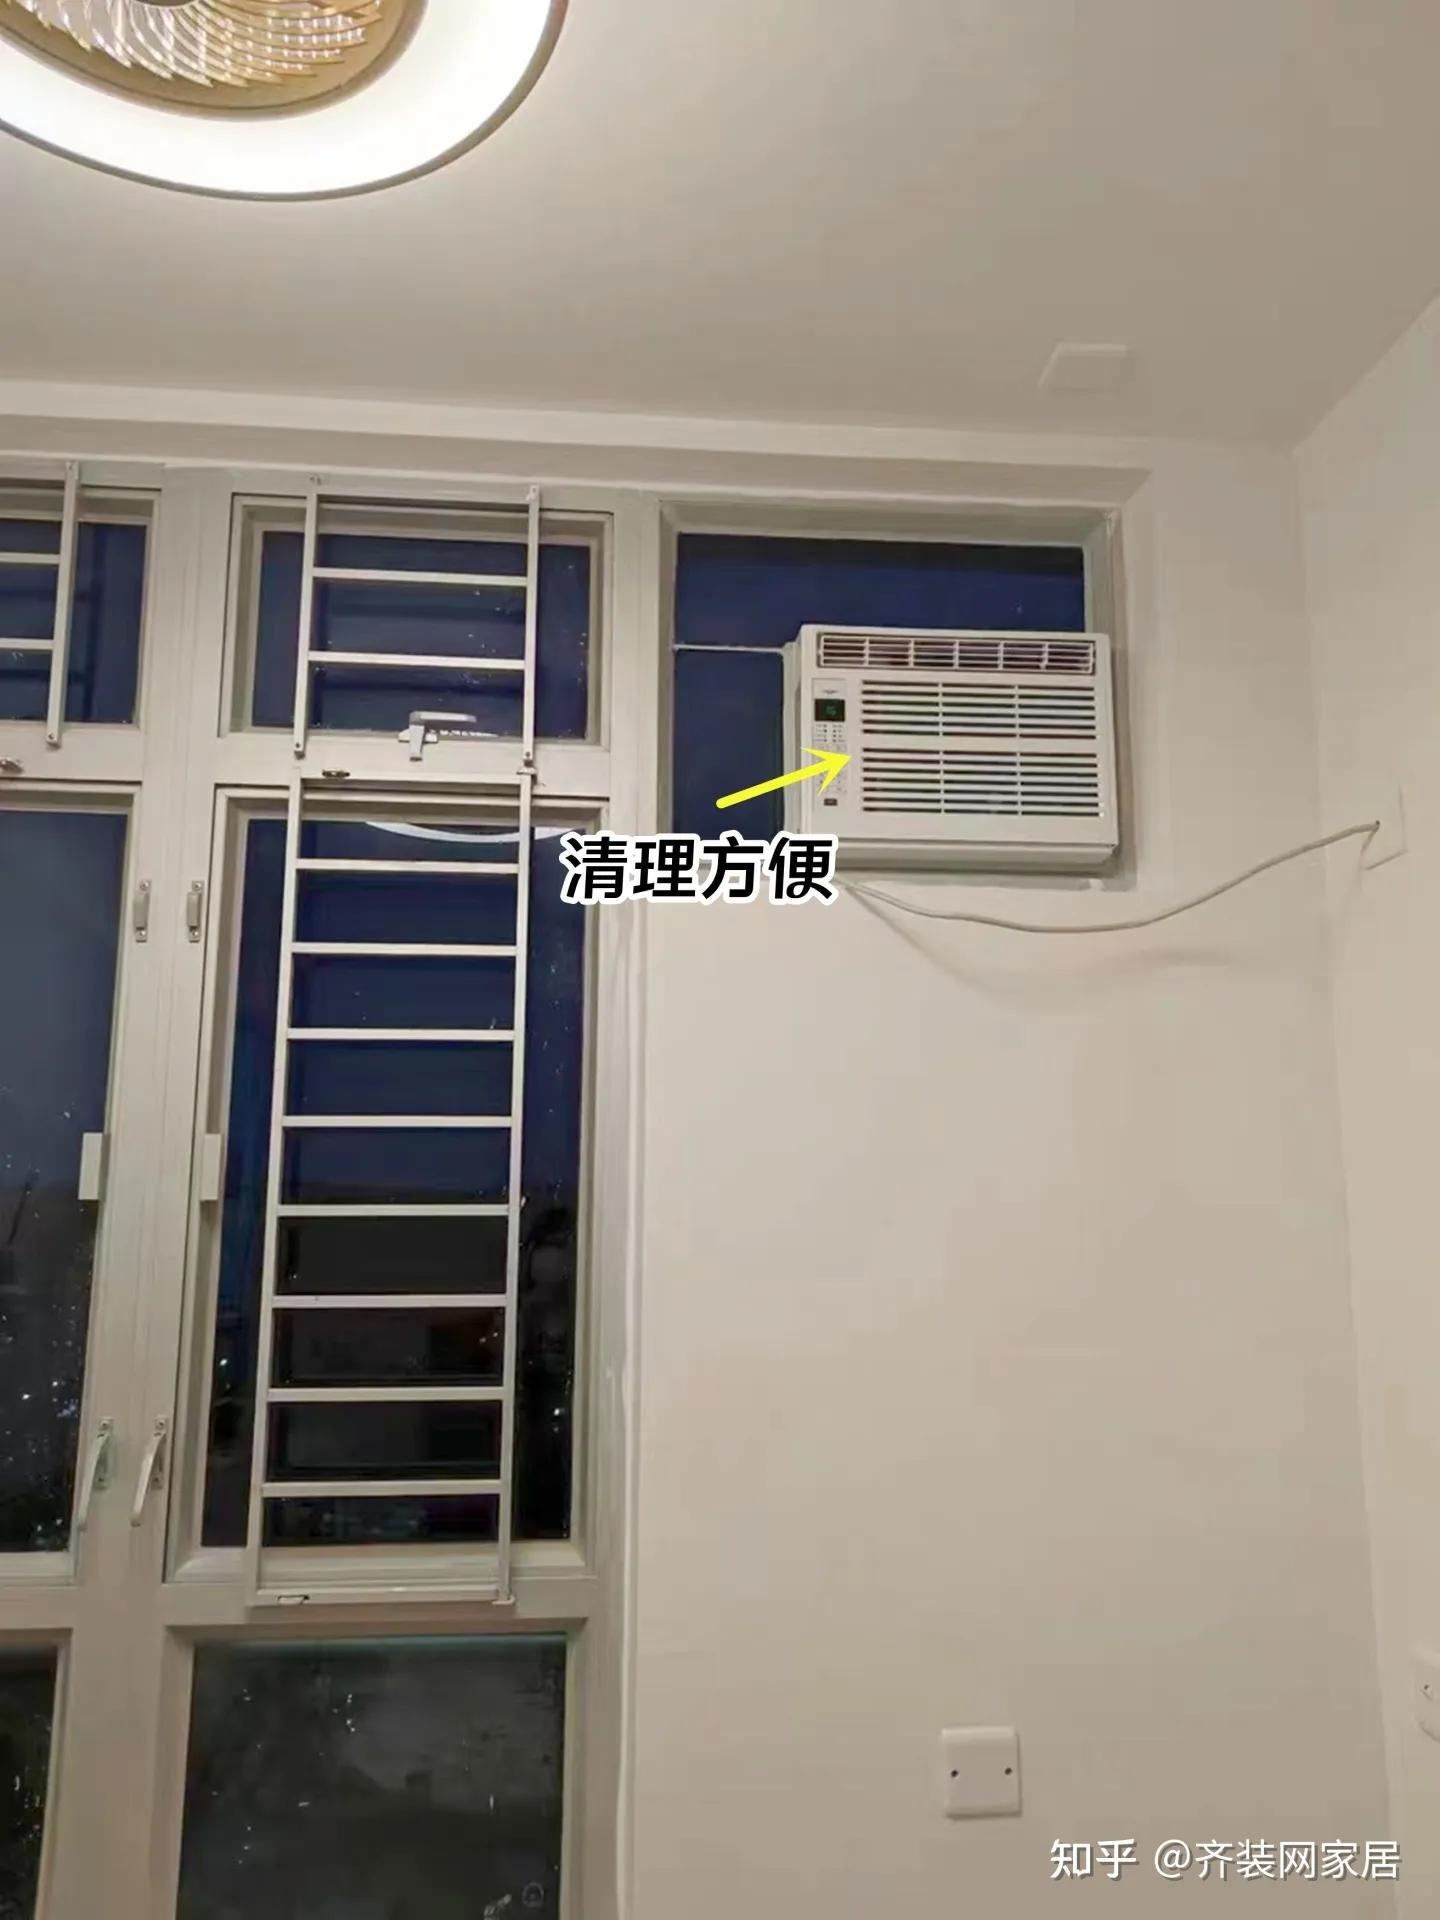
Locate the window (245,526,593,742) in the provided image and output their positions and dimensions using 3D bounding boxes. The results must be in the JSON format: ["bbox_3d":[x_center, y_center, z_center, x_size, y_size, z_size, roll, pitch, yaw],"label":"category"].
[{"bbox_3d":[-0.419,-0.426,2.287,0.500,0.284,0.111,2,-3,-6],"label":"window"}]

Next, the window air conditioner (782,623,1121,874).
[{"bbox_3d":[0.298,-0.266,2.212,0.350,0.238,0.114,0,-11,-5],"label":"window air conditioner"}]
